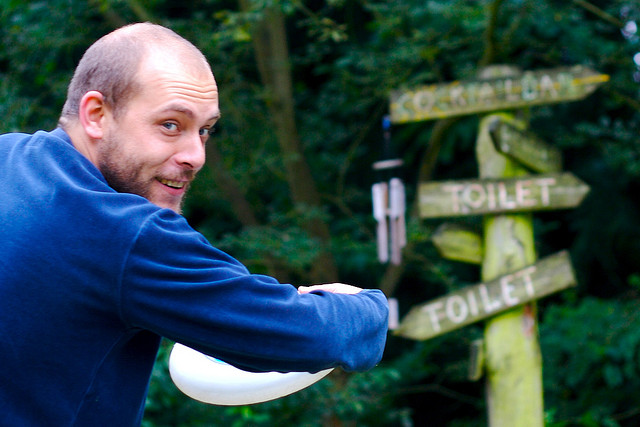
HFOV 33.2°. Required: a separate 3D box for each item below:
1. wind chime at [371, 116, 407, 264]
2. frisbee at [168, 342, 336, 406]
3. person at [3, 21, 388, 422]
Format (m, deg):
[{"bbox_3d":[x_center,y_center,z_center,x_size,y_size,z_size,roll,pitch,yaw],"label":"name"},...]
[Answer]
[{"bbox_3d":[0.435,-0.136,6.311,0.194,0.819,0.175,17,-16,-39],"label":"wind chime"},{"bbox_3d":[-0.332,0.733,4.993,0.686,0.151,0.704,-5,10,-24],"label":"frisbee"},{"bbox_3d":[-0.780,0.066,4.692,1.590,1.738,0.628,-15,11,-2],"label":"person"}]
